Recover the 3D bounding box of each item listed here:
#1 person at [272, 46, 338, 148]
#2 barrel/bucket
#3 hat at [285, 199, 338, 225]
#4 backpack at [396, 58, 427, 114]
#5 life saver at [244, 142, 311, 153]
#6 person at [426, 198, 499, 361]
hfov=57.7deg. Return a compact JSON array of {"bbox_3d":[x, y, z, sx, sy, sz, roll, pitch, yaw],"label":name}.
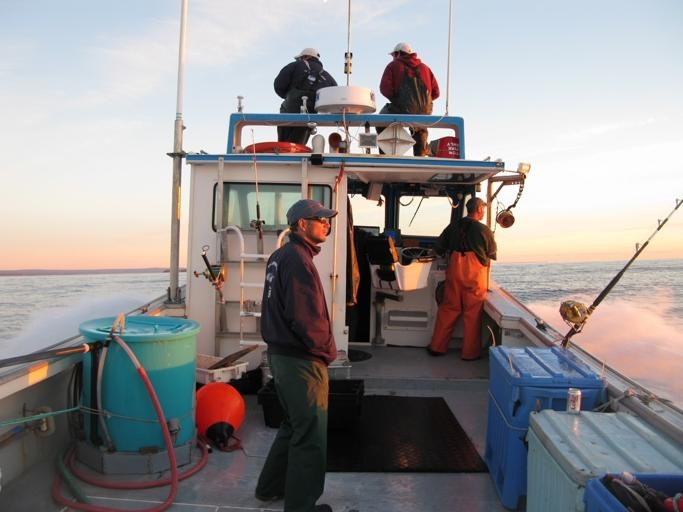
[{"bbox_3d":[-0.472,-2.046,7.802,0.748,1.219,0.857,-3,11,-5],"label":"person"},{"bbox_3d":[-1.529,0.971,5.087,0.927,0.972,0.955,1,0,0],"label":"barrel/bucket"},{"bbox_3d":[-0.228,-0.318,4.398,0.277,0.125,0.185,-6,8,-1],"label":"hat"},{"bbox_3d":[0.838,-1.964,7.197,0.418,0.576,0.244,-2,11,0],"label":"backpack"},{"bbox_3d":[-0.671,-1.145,6.494,0.706,0.124,0.397,-4,11,-11],"label":"life saver"},{"bbox_3d":[1.407,0.271,7.189,0.738,1.866,0.478,1,11,15],"label":"person"}]
